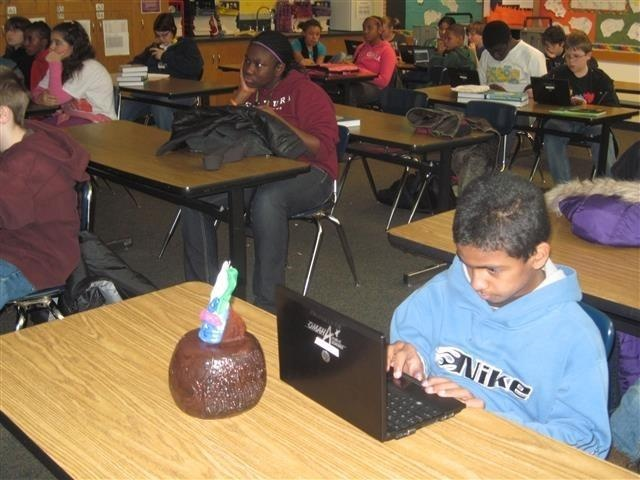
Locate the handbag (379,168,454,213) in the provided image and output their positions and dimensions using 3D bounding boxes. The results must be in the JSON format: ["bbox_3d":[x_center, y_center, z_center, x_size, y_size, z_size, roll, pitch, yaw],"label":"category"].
[{"bbox_3d":[0.815,-0.412,4.640,0.378,0.186,0.517,14,24,40],"label":"handbag"}]

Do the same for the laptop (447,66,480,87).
[{"bbox_3d":[1.573,-1.785,5.701,0.372,0.250,0.264,16,32,37],"label":"laptop"}]

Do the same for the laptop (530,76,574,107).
[{"bbox_3d":[2.071,-1.325,4.666,0.276,0.252,0.370,-24,29,-38],"label":"laptop"}]

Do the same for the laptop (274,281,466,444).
[{"bbox_3d":[0.140,0.187,1.123,0.269,0.278,0.393,-9,15,-39],"label":"laptop"}]

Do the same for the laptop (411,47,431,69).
[{"bbox_3d":[1.482,-2.711,7.732,0.289,0.263,0.209,2,-1,-12],"label":"laptop"}]

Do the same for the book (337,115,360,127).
[{"bbox_3d":[0.202,-0.856,3.786,0.172,0.043,0.189,16,24,40],"label":"book"}]

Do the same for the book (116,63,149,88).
[{"bbox_3d":[-1.911,-1.672,5.289,0.232,0.148,0.311,-5,23,-15],"label":"book"}]
